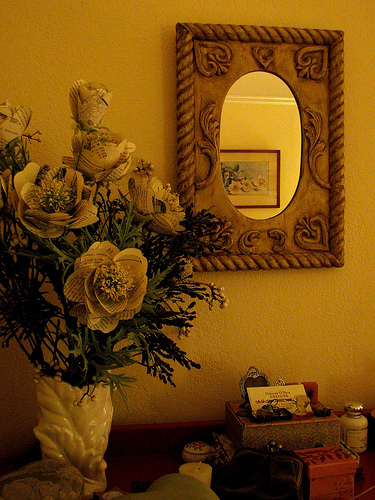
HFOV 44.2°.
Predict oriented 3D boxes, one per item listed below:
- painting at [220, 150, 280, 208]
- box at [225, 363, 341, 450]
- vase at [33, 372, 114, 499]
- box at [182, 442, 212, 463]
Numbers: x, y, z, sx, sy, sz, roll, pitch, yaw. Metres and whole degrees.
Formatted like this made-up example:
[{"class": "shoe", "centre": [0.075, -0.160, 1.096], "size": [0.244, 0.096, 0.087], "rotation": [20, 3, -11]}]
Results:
[{"class": "painting", "centre": [0.141, -0.158, 1.002], "size": [0.146, 0.119, 0.014], "rotation": [-2, 13, -8]}, {"class": "box", "centre": [0.164, 0.298, 0.951], "size": [0.273, 0.103, 0.161], "rotation": [-2, 10, -14]}, {"class": "vase", "centre": [-0.170, 0.278, 0.801], "size": [0.134, 0.182, 0.212], "rotation": [-5, 13, -25]}, {"class": "box", "centre": [0.017, 0.385, 0.880], "size": [0.037, 0.026, 0.035], "rotation": [2, -1, -23]}]
